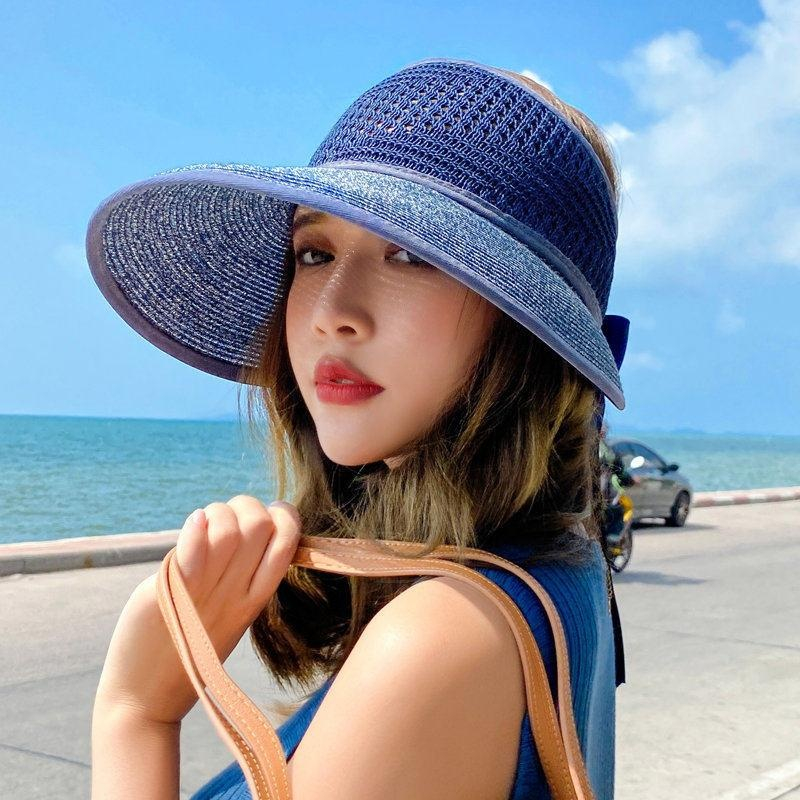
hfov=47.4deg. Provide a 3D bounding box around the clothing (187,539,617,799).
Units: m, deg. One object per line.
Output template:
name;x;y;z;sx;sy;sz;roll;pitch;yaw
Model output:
clothing;0.013;0.301;1.040;0.215;0.412;0.274;11;-23;34

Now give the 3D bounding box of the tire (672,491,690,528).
tire;4.213;1.639;13.716;0.146;0.443;0.425;17;25;31
